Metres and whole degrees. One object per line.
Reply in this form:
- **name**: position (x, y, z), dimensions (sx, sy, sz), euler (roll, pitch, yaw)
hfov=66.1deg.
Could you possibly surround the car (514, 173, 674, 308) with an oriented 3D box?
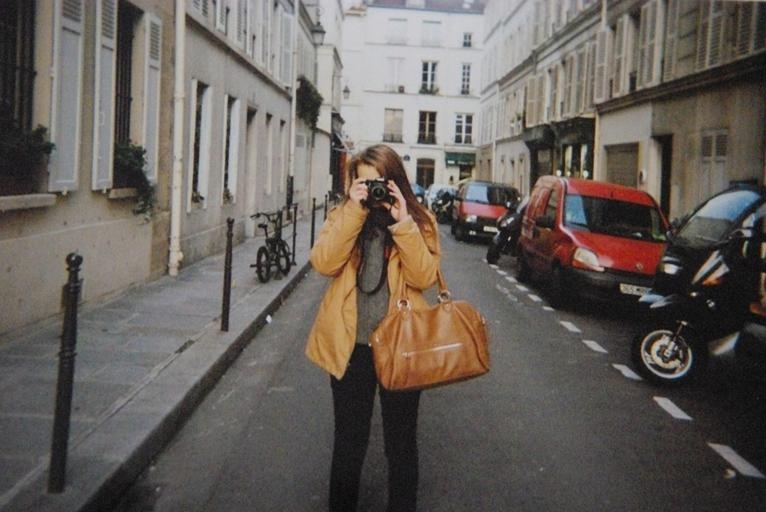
- **car**: position (4.027, -0.426, 11.655), dimensions (1.800, 1.899, 3.461), euler (5, 3, -2)

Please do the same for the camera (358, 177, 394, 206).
- **camera**: position (-0.024, -0.400, 3.685), dimensions (0.184, 0.159, 0.120), euler (2, 7, -5)

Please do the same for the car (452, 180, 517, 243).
- **car**: position (3.582, -1.806, 22.364), dimensions (1.431, 1.560, 2.930), euler (0, 3, 0)

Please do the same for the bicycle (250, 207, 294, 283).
- **bicycle**: position (-2.216, -0.162, 11.808), dimensions (0.807, 1.279, 1.885), euler (-4, 7, 8)
